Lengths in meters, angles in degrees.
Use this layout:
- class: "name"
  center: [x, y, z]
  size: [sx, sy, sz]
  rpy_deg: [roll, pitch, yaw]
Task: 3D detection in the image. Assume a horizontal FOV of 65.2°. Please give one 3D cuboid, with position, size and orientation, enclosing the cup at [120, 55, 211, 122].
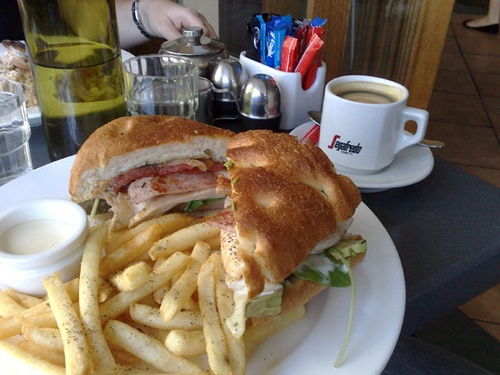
- class: "cup"
  center: [-0.442, -0.565, 2.192]
  size: [0.394, 0.320, 0.431]
  rpy_deg: [2, 21, -1]

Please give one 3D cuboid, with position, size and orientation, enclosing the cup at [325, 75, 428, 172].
- class: "cup"
  center: [0.568, -0.312, 1.946]
  size: [0.504, 0.387, 0.377]
  rpy_deg: [18, 40, 26]

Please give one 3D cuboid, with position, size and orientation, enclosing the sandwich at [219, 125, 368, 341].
- class: "sandwich"
  center: [0.128, 0.071, 1.485]
  size: [0.490, 0.243, 0.751]
  rpy_deg: [-4, 38, 28]
